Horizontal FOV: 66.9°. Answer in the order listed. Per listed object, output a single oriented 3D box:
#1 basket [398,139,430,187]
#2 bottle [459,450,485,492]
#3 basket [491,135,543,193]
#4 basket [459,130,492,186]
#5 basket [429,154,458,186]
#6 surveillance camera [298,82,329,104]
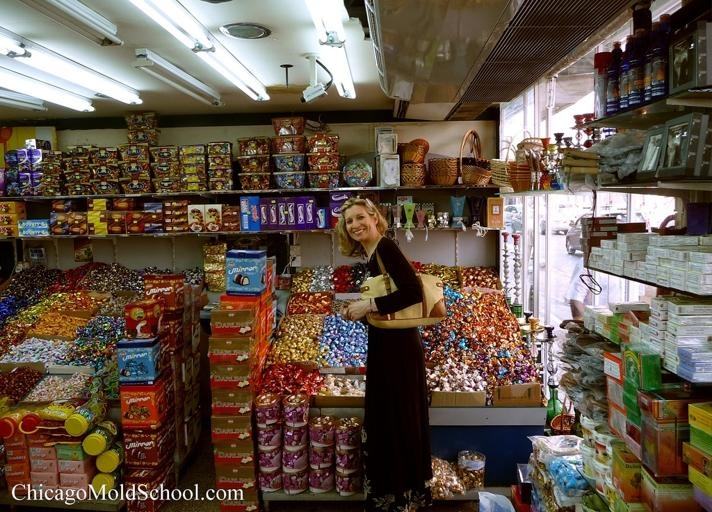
[{"bbox_3d":[0.616,-1.011,5.814,0.346,0.517,0.197,-7,9,-36],"label":"basket"},{"bbox_3d":[0.838,1.611,4.081,0.213,0.278,0.149,-2,7,3],"label":"bottle"},{"bbox_3d":[1.217,-0.711,4.234,0.559,0.455,0.353,-1,12,2],"label":"basket"},{"bbox_3d":[1.220,-1.055,5.821,0.334,0.605,0.953,-1,7,12],"label":"basket"},{"bbox_3d":[0.875,-0.902,5.711,0.329,0.232,0.318,0,-2,4],"label":"basket"},{"bbox_3d":[-0.398,-1.479,4.851,0.184,0.180,0.350,-4,7,-16],"label":"surveillance camera"}]
